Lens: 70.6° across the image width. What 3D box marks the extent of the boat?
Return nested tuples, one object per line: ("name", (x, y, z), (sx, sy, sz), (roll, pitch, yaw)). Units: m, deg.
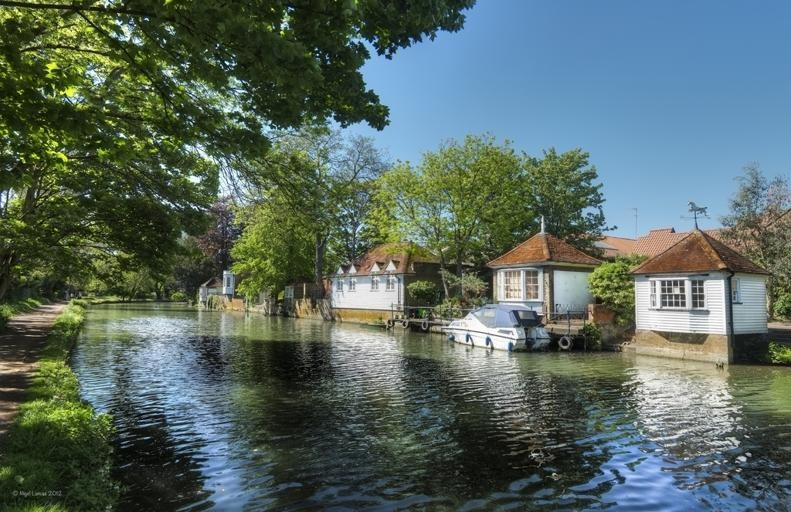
("boat", (6.126, 4.216, 33.626), (2.679, 1.470, 4.692), (2, -2, -35))
